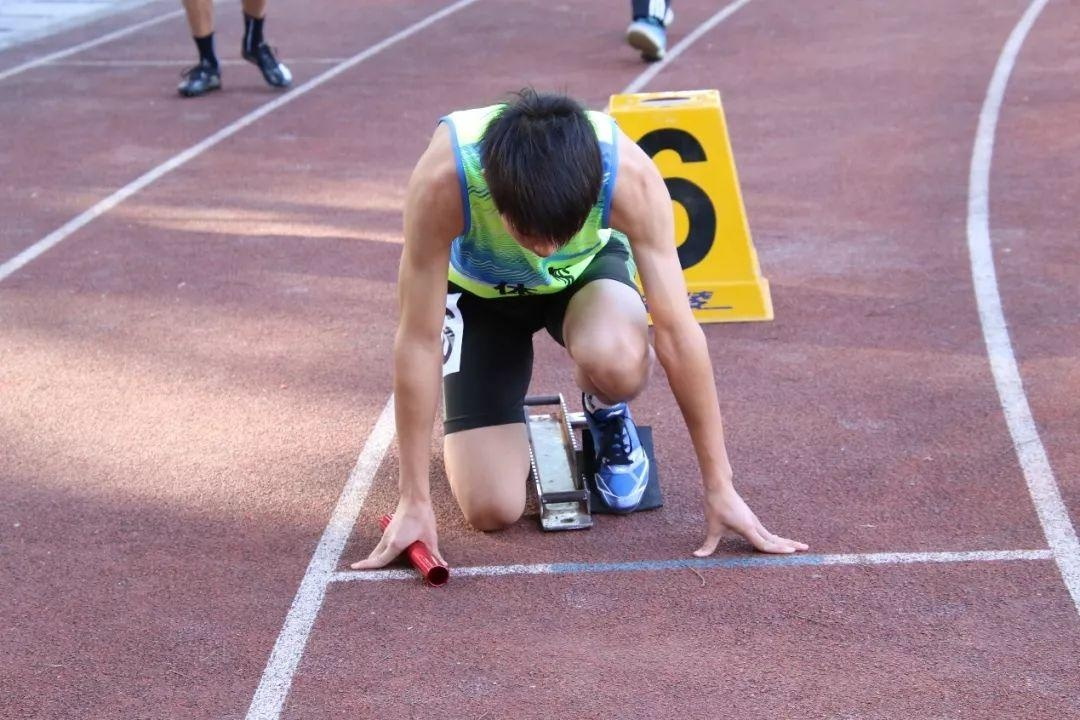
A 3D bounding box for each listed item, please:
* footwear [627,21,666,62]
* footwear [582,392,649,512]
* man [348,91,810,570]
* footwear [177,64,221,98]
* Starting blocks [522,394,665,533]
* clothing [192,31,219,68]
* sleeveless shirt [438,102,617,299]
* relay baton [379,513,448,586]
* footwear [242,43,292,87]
[{"bbox_3d":[0.848,-2.530,8.215,0.308,0.336,0.354,-5,37,5],"label":"footwear"},{"bbox_3d":[0.282,0.358,3.824,0.186,0.196,0.489,-9,61,-5],"label":"footwear"},{"bbox_3d":[0.205,-0.233,3.786,1.284,1.898,1.274,5,21,19],"label":"man"},{"bbox_3d":[-2.599,-2.090,7.763,0.171,0.196,0.456,4,25,14],"label":"footwear"},{"bbox_3d":[0.083,0.359,4.009,0.343,0.149,0.637,-6,36,-2],"label":"Starting blocks"},{"bbox_3d":[-2.488,-2.304,7.718,0.147,0.296,0.252,-18,38,-11],"label":"clothing"},{"bbox_3d":[-0.039,-0.495,3.498,0.676,0.775,0.352,-7,37,3],"label":"sleeveless shirt"},{"bbox_3d":[-0.413,0.640,3.517,0.126,0.115,0.457,-22,31,-20],"label":"relay baton"},{"bbox_3d":[-2.086,-2.270,7.977,0.258,0.343,0.358,-31,42,-26],"label":"footwear"}]
